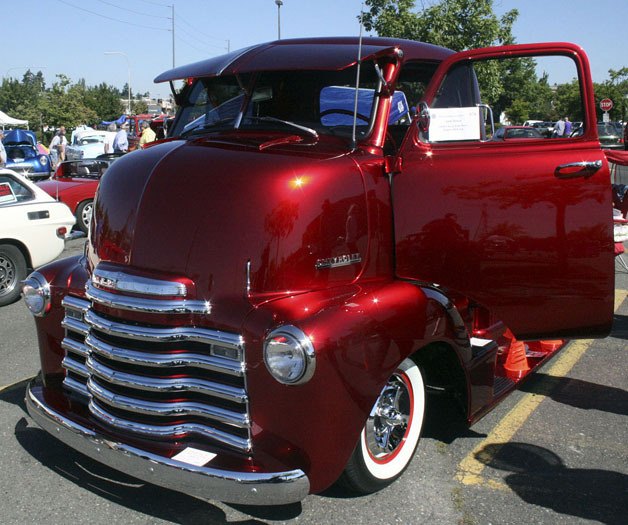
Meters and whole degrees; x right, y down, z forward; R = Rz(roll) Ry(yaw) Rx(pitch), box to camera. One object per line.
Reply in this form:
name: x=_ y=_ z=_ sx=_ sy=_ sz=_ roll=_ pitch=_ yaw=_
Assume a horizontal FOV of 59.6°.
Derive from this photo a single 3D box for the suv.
suv: x=0.738 y=-0.185 z=3.921 sx=3.271 sy=1.555 sz=4.183 roll=5 pitch=12 yaw=42
